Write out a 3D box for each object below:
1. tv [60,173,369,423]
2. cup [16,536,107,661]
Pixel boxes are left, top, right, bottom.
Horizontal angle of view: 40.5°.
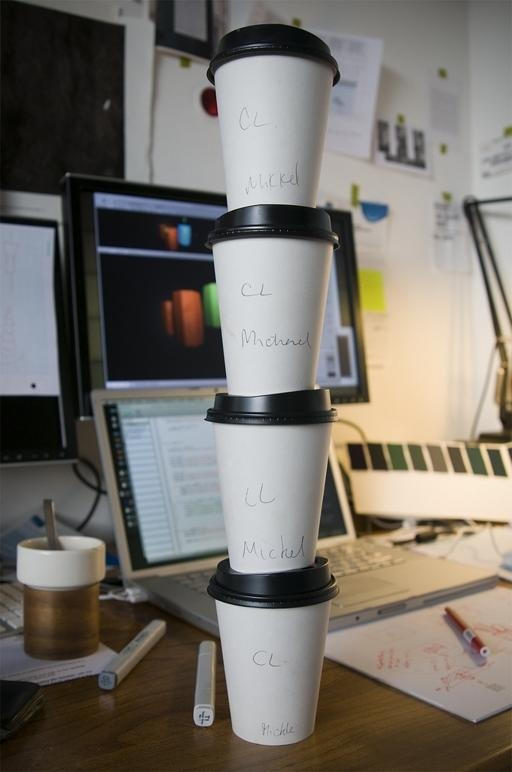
[{"bbox_3d":[-0.071,-0.093,0.728,0.366,0.229,0.016,1,-4,-38],"label":"tv"},{"bbox_3d":[-0.170,0.190,0.639,0.088,0.101,0.088,-1,-6,0],"label":"cup"}]
